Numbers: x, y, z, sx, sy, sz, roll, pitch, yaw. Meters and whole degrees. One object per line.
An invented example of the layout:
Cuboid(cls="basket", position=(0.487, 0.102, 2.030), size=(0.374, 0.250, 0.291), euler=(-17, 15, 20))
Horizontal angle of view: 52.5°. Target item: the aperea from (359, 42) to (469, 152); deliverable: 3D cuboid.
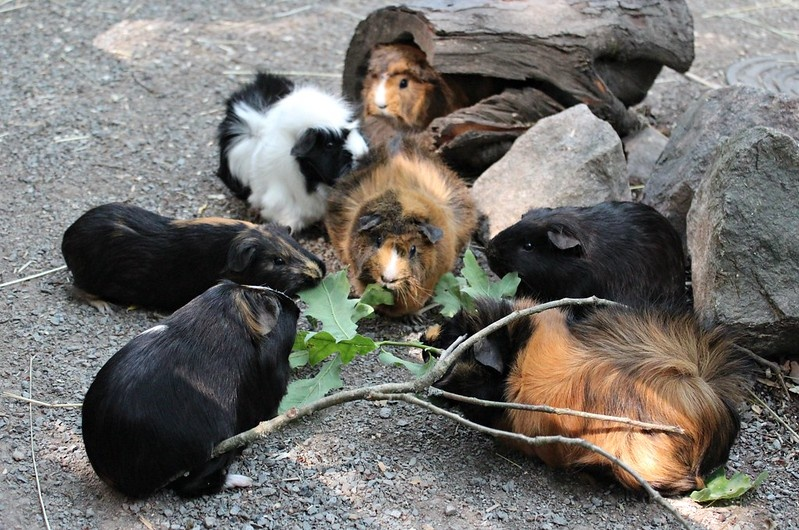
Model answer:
Cuboid(cls="aperea", position=(0.212, -1.578, 7.363), size=(0.926, 0.838, 1.237), euler=(13, 29, 36))
